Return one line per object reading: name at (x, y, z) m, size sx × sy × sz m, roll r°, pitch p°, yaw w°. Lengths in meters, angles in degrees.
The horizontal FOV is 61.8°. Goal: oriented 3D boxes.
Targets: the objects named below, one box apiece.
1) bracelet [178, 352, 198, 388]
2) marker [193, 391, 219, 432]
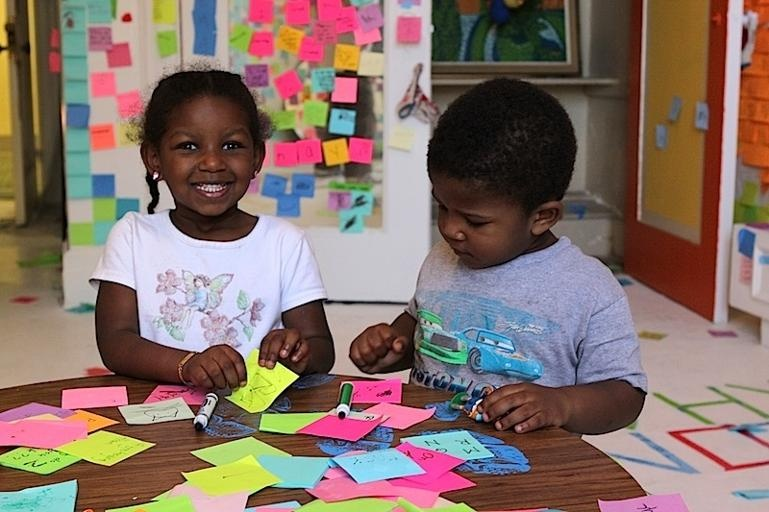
bracelet at (-0.371, 0.206, 1.188) m, size 0.014 × 0.050 × 0.050 m, roll -15°, pitch 60°, yaw -42°
marker at (-0.300, 0.257, 1.077) m, size 0.023 × 0.021 × 0.083 m, roll 16°, pitch 23°, yaw -3°
